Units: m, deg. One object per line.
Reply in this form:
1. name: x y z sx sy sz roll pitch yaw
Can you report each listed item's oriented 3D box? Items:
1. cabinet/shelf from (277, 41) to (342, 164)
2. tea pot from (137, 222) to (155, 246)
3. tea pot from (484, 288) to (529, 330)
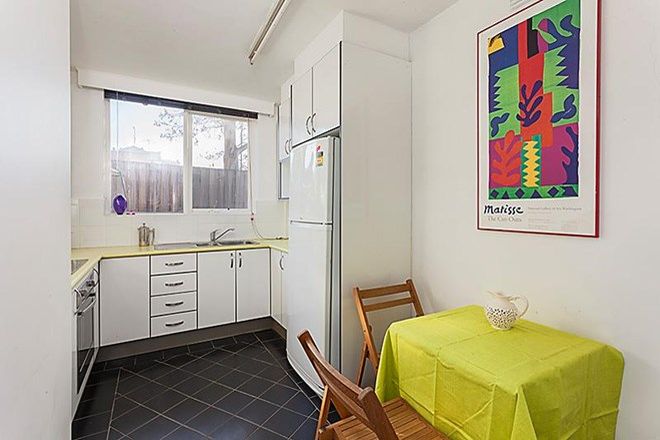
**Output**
1. cabinet/shelf: -0.168 -1.081 3.660 0.437 0.922 1.110 3 -4 -23
2. tea pot: -1.968 0.159 4.412 0.232 0.303 0.178 3 -6 -34
3. tea pot: 1.123 0.582 2.740 0.337 0.253 0.211 -3 -2 31
